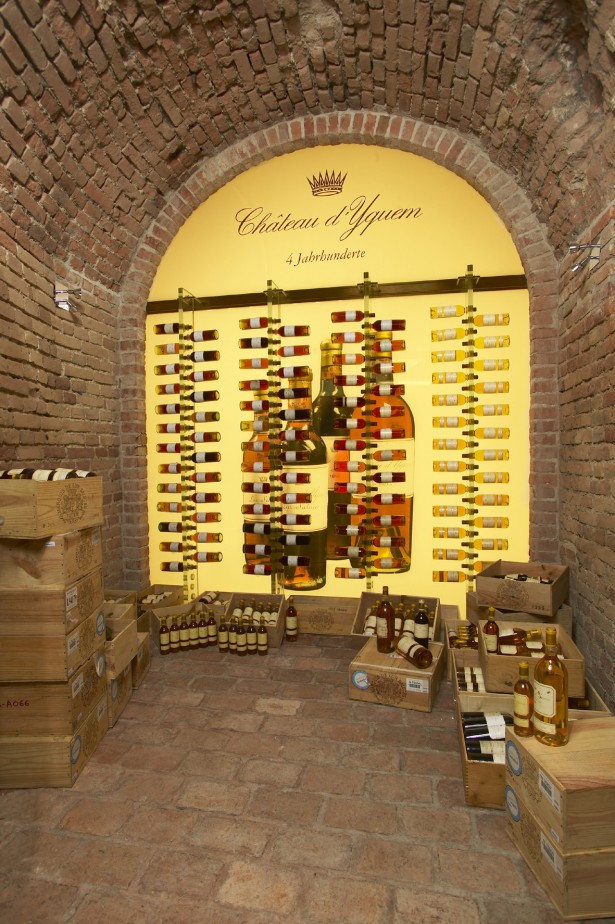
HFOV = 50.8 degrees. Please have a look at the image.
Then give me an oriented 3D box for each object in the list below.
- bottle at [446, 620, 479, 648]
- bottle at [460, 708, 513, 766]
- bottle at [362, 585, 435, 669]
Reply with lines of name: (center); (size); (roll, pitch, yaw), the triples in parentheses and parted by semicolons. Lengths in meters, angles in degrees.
bottle: (0.805, 0.905, 3.332); (0.149, 0.071, 0.154); (-7, 9, 1)
bottle: (0.642, 0.977, 2.294); (0.176, 0.188, 0.048); (-3, -40, 15)
bottle: (0.476, 0.818, 3.236); (0.264, 0.396, 0.343); (-1, 8, -8)
